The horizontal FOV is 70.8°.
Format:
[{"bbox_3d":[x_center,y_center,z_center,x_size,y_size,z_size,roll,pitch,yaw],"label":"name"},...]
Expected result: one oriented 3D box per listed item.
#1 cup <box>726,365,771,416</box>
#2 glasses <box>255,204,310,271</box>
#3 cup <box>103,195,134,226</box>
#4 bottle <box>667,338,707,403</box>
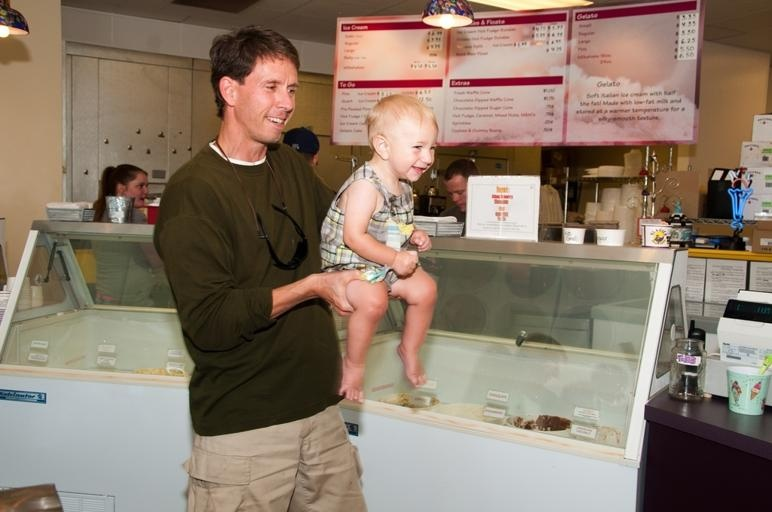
[{"bbox_3d":[1.524,0.580,2.355,0.190,0.171,0.169,0,4,8],"label":"cup"},{"bbox_3d":[-0.362,-0.046,1.901,0.054,0.223,0.168,-19,10,41],"label":"glasses"},{"bbox_3d":[-1.529,-0.256,3.168,0.155,0.170,0.159,3,-5,0],"label":"cup"},{"bbox_3d":[1.337,0.497,2.397,0.138,0.261,0.213,4,6,30],"label":"bottle"}]
